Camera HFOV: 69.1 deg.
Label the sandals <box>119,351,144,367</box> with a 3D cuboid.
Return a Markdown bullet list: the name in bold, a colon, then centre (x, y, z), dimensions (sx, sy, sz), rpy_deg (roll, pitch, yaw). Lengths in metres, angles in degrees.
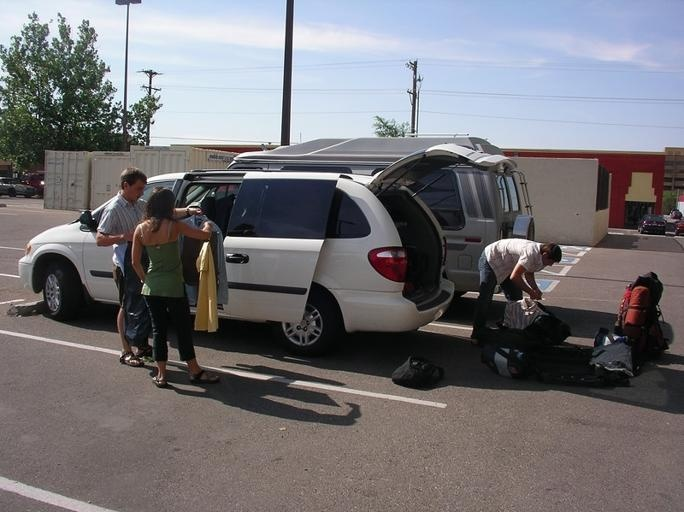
- **sandals**: centre (-2.425, 1.175, 5.716), dimensions (0.306, 0.109, 0.132), rpy_deg (3, 5, 42)

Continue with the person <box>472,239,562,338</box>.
- **person**: centre (2.508, 0.493, 7.317), dimensions (1.114, 1.479, 0.640), rpy_deg (12, 41, 24)

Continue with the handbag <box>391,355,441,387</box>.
- **handbag**: centre (0.845, 1.275, 5.506), dimensions (0.554, 0.238, 0.398), rpy_deg (4, 7, 12)

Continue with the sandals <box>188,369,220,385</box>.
- **sandals**: centre (-1.461, 1.286, 5.302), dimensions (0.281, 0.116, 0.143), rpy_deg (0, 2, -3)

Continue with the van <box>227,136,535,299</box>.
- **van**: centre (0.853, -1.253, 9.772), dimensions (5.375, 2.569, 3.251), rpy_deg (5, 8, 22)

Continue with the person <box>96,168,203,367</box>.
- **person**: centre (-2.260, 0.078, 6.046), dimensions (1.174, 2.965, 0.931), rpy_deg (5, 40, -15)

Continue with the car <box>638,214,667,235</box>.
- **car**: centre (22.623, -2.375, 36.456), dimensions (1.082, 0.839, 2.550), rpy_deg (3, 10, 24)

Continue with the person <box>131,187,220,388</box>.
- **person**: centre (-1.766, 0.318, 5.154), dimensions (0.850, 2.030, 0.364), rpy_deg (1, 8, -10)
